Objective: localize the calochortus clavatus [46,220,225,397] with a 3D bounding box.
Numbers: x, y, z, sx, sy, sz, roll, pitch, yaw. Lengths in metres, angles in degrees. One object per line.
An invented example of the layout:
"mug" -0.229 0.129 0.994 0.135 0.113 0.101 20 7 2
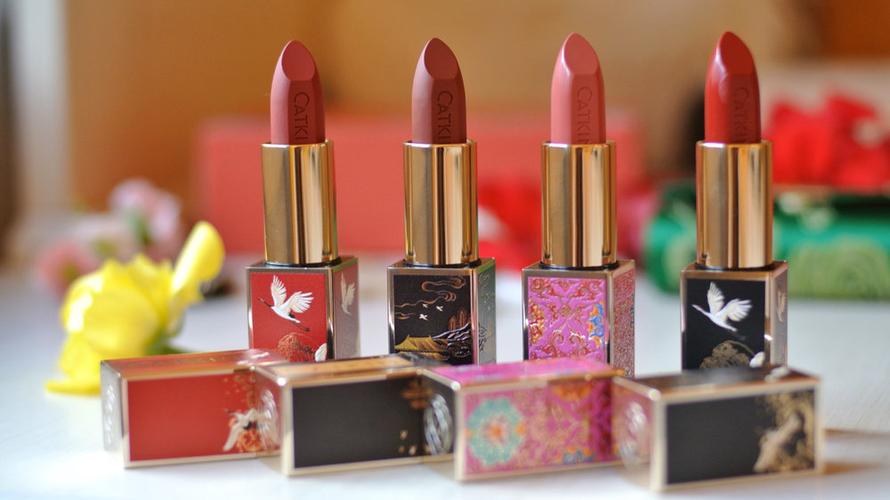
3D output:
"calochortus clavatus" -0.619 0.126 1.692 0.360 0.180 0.367 -23 17 -4
